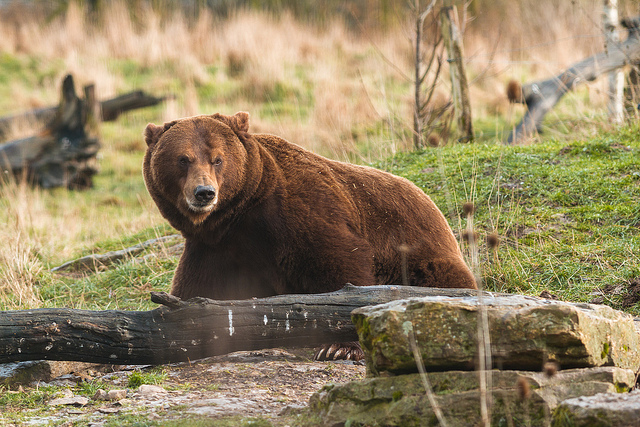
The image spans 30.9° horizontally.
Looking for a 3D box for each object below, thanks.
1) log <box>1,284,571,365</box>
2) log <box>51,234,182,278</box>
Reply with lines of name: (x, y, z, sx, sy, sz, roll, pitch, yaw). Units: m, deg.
log: (-0.298, 1.651, 16.682, 7.339, 0.861, 1.042, 0, 44, -4)
log: (-3.641, 0.810, 20.886, 2.205, 0.244, 0.236, -16, -15, 6)
